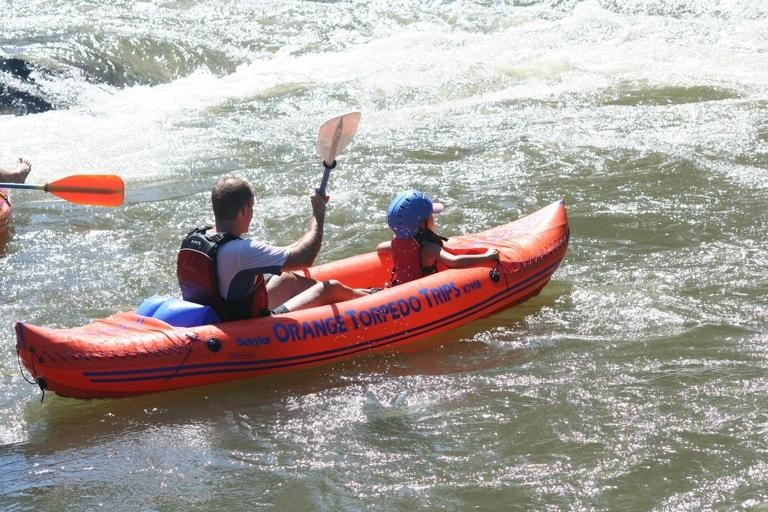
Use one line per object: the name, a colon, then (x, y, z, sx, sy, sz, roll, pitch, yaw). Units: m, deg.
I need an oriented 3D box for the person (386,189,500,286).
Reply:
person: (0.675, -0.178, 13.293, 1.181, 0.924, 0.697, 18, 46, 41)

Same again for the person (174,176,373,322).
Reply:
person: (-1.321, -0.075, 12.008, 1.629, 1.536, 0.718, -9, 26, -12)

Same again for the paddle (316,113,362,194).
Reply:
paddle: (-0.600, -1.175, 12.798, 0.472, 1.005, 0.149, 23, 24, 3)
